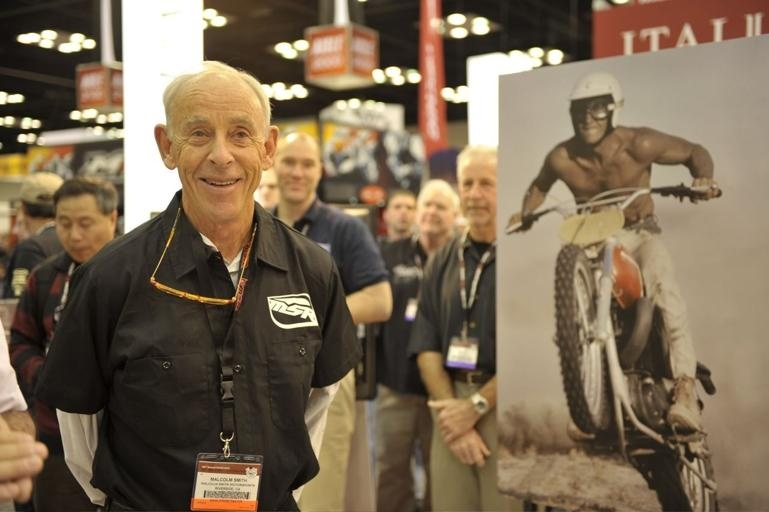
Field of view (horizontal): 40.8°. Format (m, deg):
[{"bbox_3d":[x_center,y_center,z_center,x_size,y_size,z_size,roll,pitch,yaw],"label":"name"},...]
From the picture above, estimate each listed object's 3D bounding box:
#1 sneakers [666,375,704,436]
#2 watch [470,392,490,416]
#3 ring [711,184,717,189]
[{"bbox_3d":[1.191,0.597,4.145,0.130,0.214,0.089,3,8,33],"label":"sneakers"},{"bbox_3d":[0.443,0.686,4.843,0.069,0.109,0.102,-28,29,11],"label":"watch"},{"bbox_3d":[1.305,-0.283,4.123,0.018,0.017,0.006,7,14,24],"label":"ring"}]
